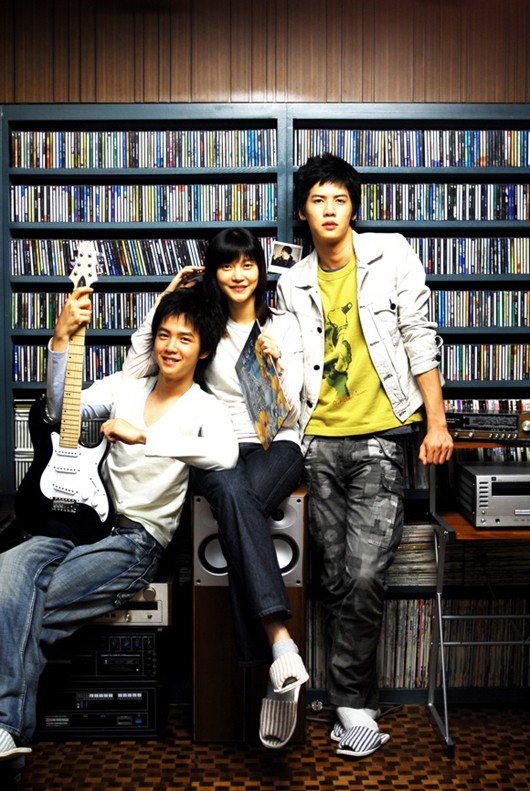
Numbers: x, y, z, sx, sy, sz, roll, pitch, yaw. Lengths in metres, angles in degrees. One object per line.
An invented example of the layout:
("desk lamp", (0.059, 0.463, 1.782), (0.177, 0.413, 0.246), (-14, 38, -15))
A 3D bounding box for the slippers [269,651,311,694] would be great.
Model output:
("slippers", (0.054, 0.650, 1.694), (0.081, 0.038, 0.097), (-25, 28, 5))

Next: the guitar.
("guitar", (-0.509, 0.015, 1.925), (0.244, 0.859, 0.067), (4, 19, -15))

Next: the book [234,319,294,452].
("book", (-0.007, -0.012, 2.019), (0.019, 0.296, 0.238), (-5, -27, -43))

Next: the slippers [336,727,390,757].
("slippers", (0.266, 0.923, 1.946), (0.146, 0.063, 0.117), (4, 11, 5))
